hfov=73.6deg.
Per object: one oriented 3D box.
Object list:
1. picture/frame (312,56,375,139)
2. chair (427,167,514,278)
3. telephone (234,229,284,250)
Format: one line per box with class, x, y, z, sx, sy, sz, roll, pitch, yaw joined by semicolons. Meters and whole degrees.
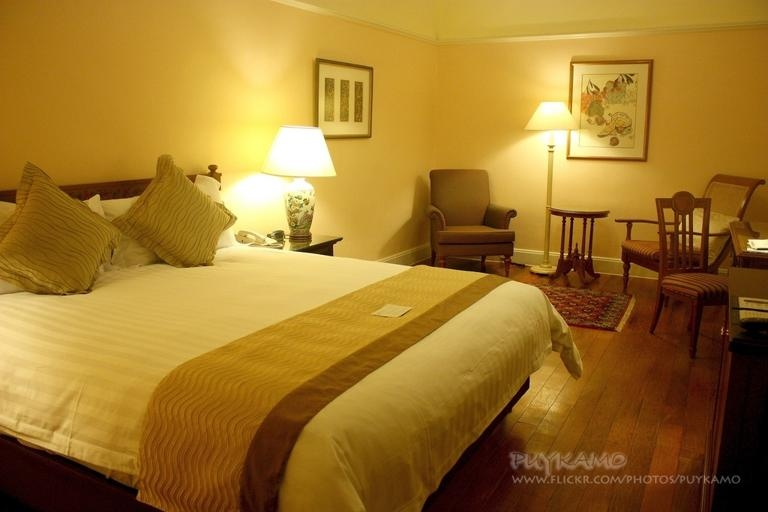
picture/frame;-0.543;-1.697;5.640;0.276;0.771;0.925;15;20;35
chair;1.045;-0.445;6.562;1.122;1.317;1.084;-1;8;-4
telephone;-1.116;-0.142;4.502;0.389;0.094;0.176;5;15;1
